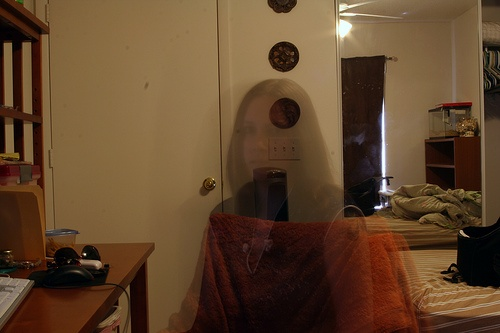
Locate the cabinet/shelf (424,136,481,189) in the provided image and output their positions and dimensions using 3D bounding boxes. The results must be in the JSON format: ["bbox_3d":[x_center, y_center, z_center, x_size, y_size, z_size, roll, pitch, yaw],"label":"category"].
[{"bbox_3d":[1.237,-0.004,2.394,0.159,0.316,0.158,-1,-2,-13],"label":"cabinet/shelf"}]

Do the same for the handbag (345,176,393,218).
[{"bbox_3d":[0.695,0.184,2.526,0.235,0.272,0.234,3,8,-7],"label":"handbag"}]

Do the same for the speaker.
[{"bbox_3d":[0.166,0.191,2.569,0.211,0.376,0.216,-1,3,-18],"label":"speaker"}]

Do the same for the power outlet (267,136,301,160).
[{"bbox_3d":[0.213,-0.111,2.488,0.184,0.150,0.022,1,26,8],"label":"power outlet"}]
